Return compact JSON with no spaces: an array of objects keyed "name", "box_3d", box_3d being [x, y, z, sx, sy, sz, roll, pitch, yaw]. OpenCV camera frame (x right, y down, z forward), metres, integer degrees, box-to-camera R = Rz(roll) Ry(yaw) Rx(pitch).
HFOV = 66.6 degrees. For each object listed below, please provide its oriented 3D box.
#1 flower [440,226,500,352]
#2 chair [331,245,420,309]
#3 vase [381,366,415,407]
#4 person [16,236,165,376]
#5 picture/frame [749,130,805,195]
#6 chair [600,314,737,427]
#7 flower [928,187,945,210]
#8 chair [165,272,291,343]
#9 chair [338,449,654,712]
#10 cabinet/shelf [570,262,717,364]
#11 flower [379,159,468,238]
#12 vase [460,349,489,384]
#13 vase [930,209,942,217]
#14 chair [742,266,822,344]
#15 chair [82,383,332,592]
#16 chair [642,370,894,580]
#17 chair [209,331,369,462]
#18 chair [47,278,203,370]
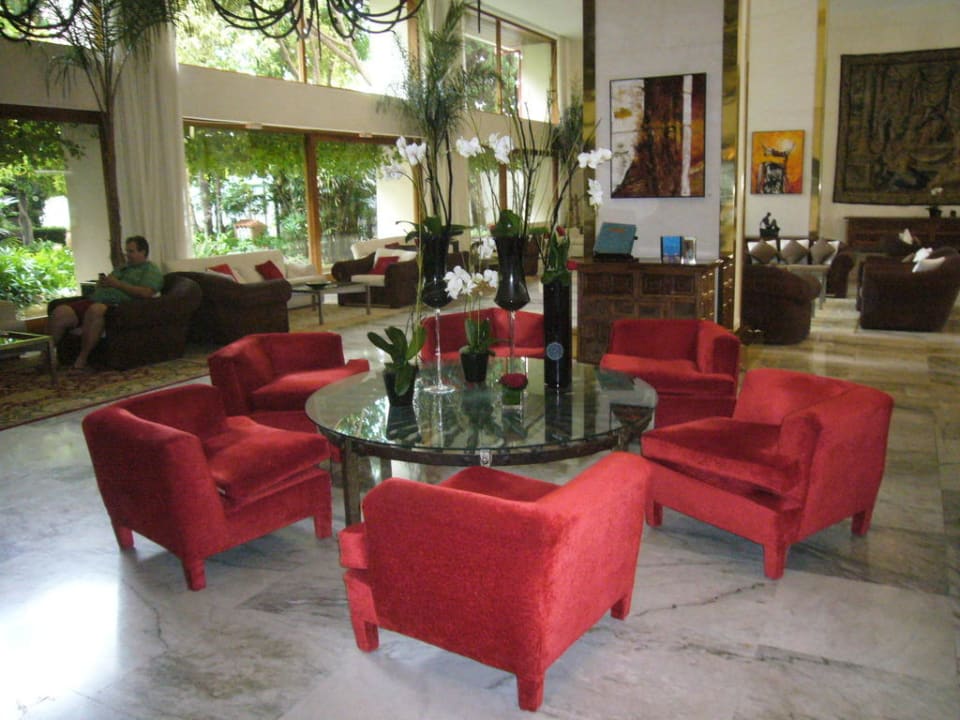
[{"name":"flower","box_3d":[-0.029,-0.331,3.896,0.238,0.631,0.246,-1,-5,-22]},{"name":"chair","box_3d":[-1.525,-1.256,11.368,1.336,0.969,1.071,6,9,35]},{"name":"vase","box_3d":[-0.411,0.133,3.739,0.169,0.192,0.184,5,7,24]},{"name":"person","box_3d":[-3.797,-0.576,7.493,0.793,1.555,0.928,2,-7,18]},{"name":"picture/frame","box_3d":[3.395,-2.294,8.404,0.776,0.915,0.067,-5,20,-6]},{"name":"chair","box_3d":[1.232,0.101,5.098,0.895,0.758,0.884,4,10,8]},{"name":"flower","box_3d":[7.754,-2.760,12.422,0.222,0.358,0.100,5,14,27]},{"name":"chair","box_3d":[-2.944,-0.911,8.453,1.350,1.018,0.800,7,13,37]},{"name":"chair","box_3d":[0.059,0.617,2.919,0.974,0.821,1.023,6,9,32]},{"name":"cabinet/shelf","box_3d":[1.351,-0.411,5.886,0.844,0.844,0.339,3,9,17]},{"name":"flower","box_3d":[-0.365,-1.121,4.957,0.473,0.651,0.531,-9,1,3]},{"name":"vase","box_3d":[-0.033,0.034,4.042,0.158,0.180,0.173,3,7,4]},{"name":"vase","box_3d":[7.682,-2.469,12.343,0.182,0.152,0.270,6,14,31]},{"name":"chair","box_3d":[3.221,-0.643,8.008,0.768,0.839,0.939,1,10,32]},{"name":"chair","box_3d":[-1.370,0.595,3.734,0.970,0.828,0.726,-13,17,-43]},{"name":"chair","box_3d":[1.503,0.523,3.867,1.222,0.844,1.213,1,11,9]},{"name":"chair","box_3d":[-1.205,0.283,4.793,0.751,0.680,0.775,1,16,15]},{"name":"chair","box_3d":[-3.632,-0.453,7.733,1.208,0.967,1.179,4,11,26]}]
